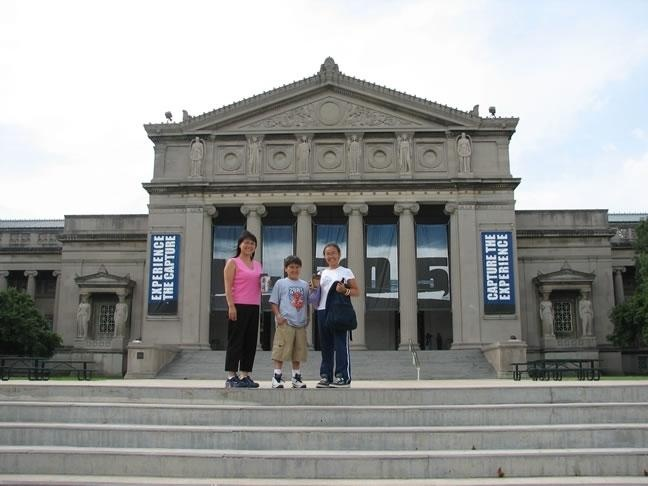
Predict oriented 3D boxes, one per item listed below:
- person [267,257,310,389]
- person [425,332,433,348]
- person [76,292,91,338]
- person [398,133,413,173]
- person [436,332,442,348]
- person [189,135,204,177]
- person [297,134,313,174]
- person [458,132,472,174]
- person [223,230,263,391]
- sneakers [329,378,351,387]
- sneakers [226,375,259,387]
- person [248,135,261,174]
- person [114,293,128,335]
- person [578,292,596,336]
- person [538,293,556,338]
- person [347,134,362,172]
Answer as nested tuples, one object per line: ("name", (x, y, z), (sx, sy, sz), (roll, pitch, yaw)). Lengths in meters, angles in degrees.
("person", (-0.687, 1.551, 15.146), (0.810, 2.532, 0.524), (2, -9, -11))
("person", (5.616, 5.288, 41.301), (0.416, 0.855, 1.451), (-1, -8, 8))
("person", (-12.340, 3.743, 39.297), (0.630, 2.298, 1.174), (3, -9, -16))
("person", (3.948, -4.372, 37.749), (0.682, 2.043, 0.303), (0, -9, 5))
("person", (6.223, 5.317, 41.621), (0.274, 0.820, 0.442), (-8, -12, 44))
("person", (-6.356, -4.279, 38.207), (0.637, 2.084, 0.285), (2, -9, -10))
("person", (-0.998, -4.273, 37.897), (0.724, 2.091, 0.392), (1, -9, -3))
("person", (6.840, -4.366, 37.621), (0.665, 2.039, 0.241), (1, -9, -4))
("person", (-1.616, 1.278, 15.077), (0.736, 3.064, 0.725), (2, -9, -11))
("sneakers", (0.313, 2.733, 15.002), (0.446, 0.208, 0.153), (3, -22, 5))
("sneakers", (-1.630, 2.682, 14.937), (0.674, 0.294, 0.243), (0, -8, -1))
("person", (-3.460, -4.299, 38.060), (0.679, 2.088, 0.312), (2, -9, -9))
("person", (-10.338, 3.690, 38.956), (0.612, 2.072, 1.491), (3, -9, -16))
("person", (12.969, 3.558, 38.134), (0.657, 2.197, 1.313), (-2, -9, 18))
("person", (11.029, 3.579, 38.117), (0.575, 2.273, 1.214), (-2, -9, 13))
("person", (1.490, -4.293, 37.820), (0.693, 2.005, 0.338), (0, -9, 0))
